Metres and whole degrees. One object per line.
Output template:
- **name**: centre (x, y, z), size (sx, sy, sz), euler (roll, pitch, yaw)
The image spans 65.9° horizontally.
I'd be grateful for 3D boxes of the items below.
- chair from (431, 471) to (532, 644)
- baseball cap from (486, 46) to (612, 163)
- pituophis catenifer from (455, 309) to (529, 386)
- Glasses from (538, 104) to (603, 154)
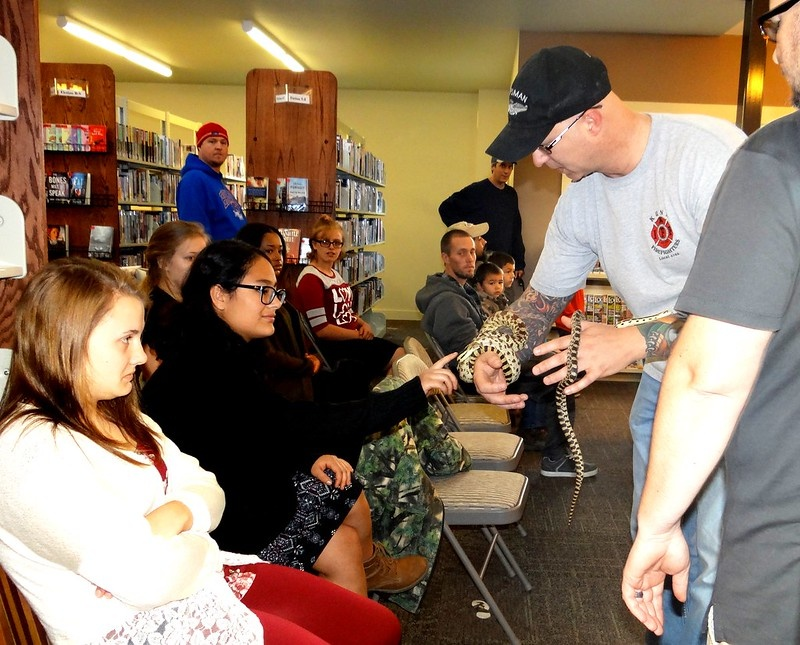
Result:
- **chair**: centre (0.357, 1.006, 2.880), size (0.573, 0.844, 0.590), euler (-1, 4, 8)
- **baseball cap**: centre (0.412, -0.703, 1.890), size (0.439, 0.232, 0.287), euler (-28, 31, -3)
- **pituophis catenifer**: centre (0.324, 0.078, 2.051), size (0.190, 0.084, 0.291), euler (22, 57, 29)
- **Glasses**: centre (0.500, -0.555, 1.813), size (0.143, 0.045, 0.111), euler (-41, -2, 0)
